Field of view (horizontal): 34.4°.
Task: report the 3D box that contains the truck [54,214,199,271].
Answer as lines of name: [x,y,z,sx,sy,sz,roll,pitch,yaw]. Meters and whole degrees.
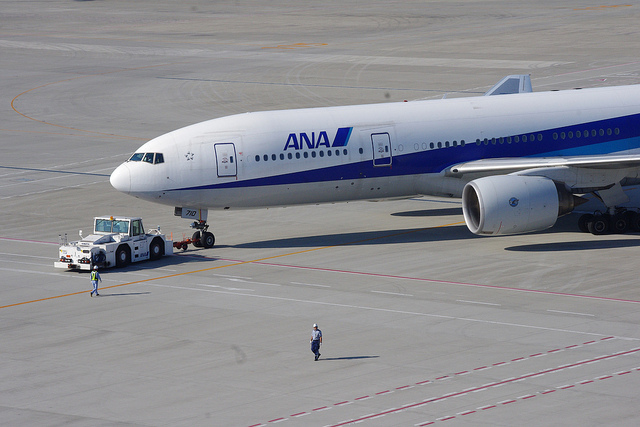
truck: [-10.969,1.556,54.106,4.942,2.561,1.919,-14,21,-39]
